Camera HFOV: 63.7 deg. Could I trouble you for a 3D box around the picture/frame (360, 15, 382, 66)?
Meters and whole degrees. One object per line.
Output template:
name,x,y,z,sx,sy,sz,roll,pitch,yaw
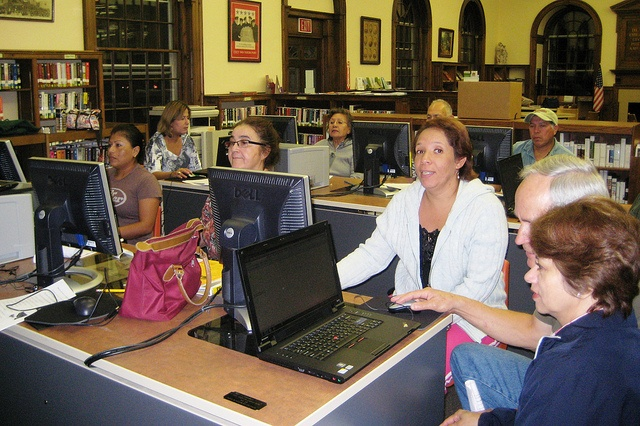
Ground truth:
picture/frame,1.049,-3.828,10.669,0.077,1.046,1.026,5,13,29

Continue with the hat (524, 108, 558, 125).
hat,2.216,-1.033,5.122,0.276,0.156,0.315,4,14,21

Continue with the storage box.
storage box,2.286,-1.744,6.822,0.918,0.609,0.513,6,16,27

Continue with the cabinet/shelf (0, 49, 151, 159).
cabinet/shelf,-2.955,-1.384,6.042,0.562,1.606,1.668,9,17,31

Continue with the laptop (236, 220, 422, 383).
laptop,0.062,0.305,2.007,0.498,0.413,0.624,6,11,36

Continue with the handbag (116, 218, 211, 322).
handbag,-0.684,0.252,2.393,0.285,0.355,0.510,6,13,12

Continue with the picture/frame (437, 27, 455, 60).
picture/frame,3.149,-4.518,12.837,0.058,0.845,0.878,6,10,37

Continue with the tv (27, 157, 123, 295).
tv,-1.262,0.073,2.608,0.563,0.667,0.329,10,16,31

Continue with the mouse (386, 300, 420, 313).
mouse,0.351,0.415,2.251,0.094,0.029,0.054,-7,12,-22

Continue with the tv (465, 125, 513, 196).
tv,1.251,-0.431,3.754,0.502,0.522,0.169,8,21,33

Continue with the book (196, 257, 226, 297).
book,-0.555,0.323,2.603,0.148,0.040,0.169,-2,32,11

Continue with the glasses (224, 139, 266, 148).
glasses,-0.420,-0.440,2.970,0.219,0.044,0.068,1,14,11

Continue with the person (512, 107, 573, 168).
person,2.252,-0.767,5.175,0.750,0.658,0.460,8,12,43

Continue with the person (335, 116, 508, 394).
person,0.509,0.272,2.750,1.108,1.468,0.863,-7,9,-12

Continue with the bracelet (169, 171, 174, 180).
bracelet,-1.403,-0.407,4.864,0.021,0.062,0.052,5,16,-10

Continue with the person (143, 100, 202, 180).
person,-1.574,-0.834,5.555,0.833,0.882,0.849,1,13,-18

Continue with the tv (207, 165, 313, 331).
tv,-0.252,0.145,2.192,0.565,0.653,0.325,9,20,35

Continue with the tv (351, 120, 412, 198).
tv,0.526,-0.502,4.361,0.613,0.637,0.245,9,24,28
